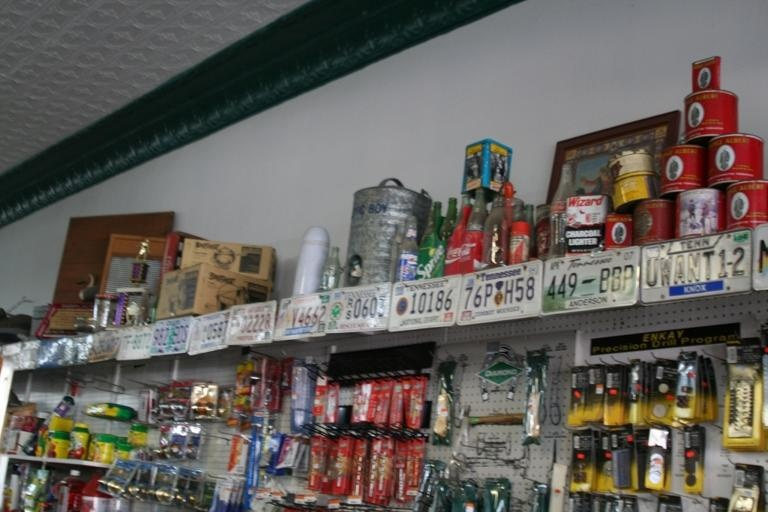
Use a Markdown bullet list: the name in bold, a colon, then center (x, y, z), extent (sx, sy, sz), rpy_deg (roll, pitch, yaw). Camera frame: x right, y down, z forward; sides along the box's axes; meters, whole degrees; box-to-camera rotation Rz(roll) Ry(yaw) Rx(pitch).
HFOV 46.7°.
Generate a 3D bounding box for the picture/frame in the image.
- **picture/frame**: center (1.287, -0.533, 4.940), extent (0.695, 0.521, 0.049), rpy_deg (-13, -47, 37)

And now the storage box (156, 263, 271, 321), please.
- **storage box**: center (-1.181, 0.318, 6.405), extent (0.568, 0.289, 0.702), rpy_deg (-8, -18, 37)

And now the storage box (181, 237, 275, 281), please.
- **storage box**: center (-1.069, 0.044, 6.489), extent (0.794, 0.251, 0.253), rpy_deg (3, -4, 30)

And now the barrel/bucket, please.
- **barrel/bucket**: center (0.030, -0.098, 5.508), extent (0.521, 0.735, 0.488), rpy_deg (6, -14, 1)

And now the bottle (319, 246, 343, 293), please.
- **bottle**: center (-0.326, 0.072, 5.611), extent (0.132, 0.354, 0.264), rpy_deg (5, -17, -3)
